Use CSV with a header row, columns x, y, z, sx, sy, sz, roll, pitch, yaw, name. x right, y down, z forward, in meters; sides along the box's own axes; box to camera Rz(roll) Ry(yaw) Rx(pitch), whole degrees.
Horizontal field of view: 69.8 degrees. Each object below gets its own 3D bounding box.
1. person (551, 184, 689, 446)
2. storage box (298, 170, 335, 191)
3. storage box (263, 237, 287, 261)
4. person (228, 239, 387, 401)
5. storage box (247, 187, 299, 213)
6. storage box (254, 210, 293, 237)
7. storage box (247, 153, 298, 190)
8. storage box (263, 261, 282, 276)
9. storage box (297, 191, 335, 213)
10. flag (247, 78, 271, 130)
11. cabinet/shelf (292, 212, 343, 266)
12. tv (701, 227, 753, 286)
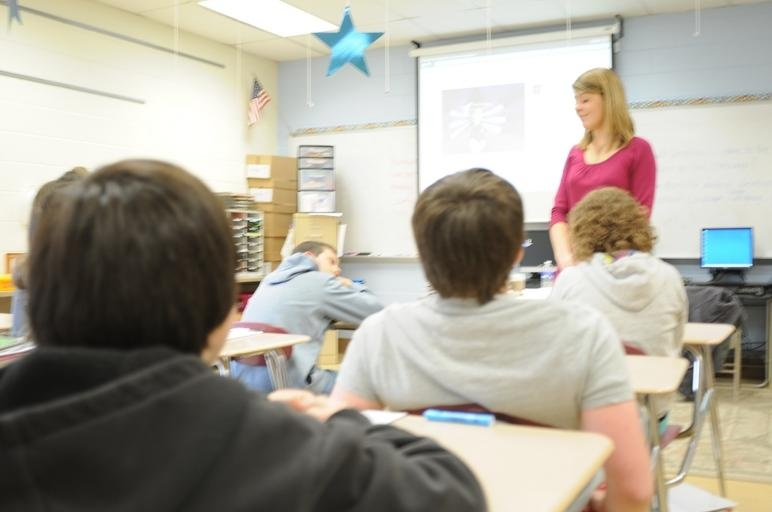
x,y,z,sx,sy,sz,roll,pitch,yaw,name
0.872,0.255,2.154,0.528,1.035,0.535,-7,15,6,person
-0.823,-0.853,6.502,0.312,0.178,0.299,0,0,-25,storage box
-1.304,-0.069,6.350,0.258,0.329,0.260,-1,-1,32,storage box
-0.420,0.467,2.867,0.641,1.065,0.771,-2,0,35,person
-1.321,-0.656,6.502,0.370,0.215,0.370,0,-1,30,storage box
-1.331,-0.368,6.480,0.254,0.291,0.464,4,4,32,storage box
-1.342,-0.957,6.550,0.457,0.273,0.463,1,1,27,storage box
-1.052,0.110,5.005,0.184,0.105,0.178,0,0,7,storage box
-0.826,-0.640,6.479,0.308,0.183,0.303,0,-2,16,storage box
-1.656,-1.954,7.016,0.209,0.505,0.333,11,3,6,flag
-0.760,-0.167,6.307,0.642,0.741,0.526,0,-2,5,cabinet/shelf
3.246,0.015,5.199,0.305,0.508,0.444,10,-8,-41,tv
